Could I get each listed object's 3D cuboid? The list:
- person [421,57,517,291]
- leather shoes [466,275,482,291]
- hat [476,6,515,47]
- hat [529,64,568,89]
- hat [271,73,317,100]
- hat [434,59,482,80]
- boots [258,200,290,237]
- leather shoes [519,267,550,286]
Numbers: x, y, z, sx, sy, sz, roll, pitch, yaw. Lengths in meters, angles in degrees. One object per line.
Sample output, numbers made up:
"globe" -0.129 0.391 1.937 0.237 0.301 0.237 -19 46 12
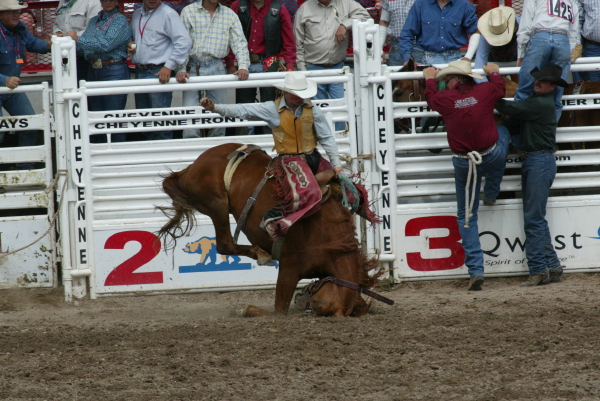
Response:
"person" 2.130 -0.329 15.252 1.037 2.906 0.551 -2 4 8
"leather shoes" 2.211 1.056 15.170 0.111 0.108 0.240 2 -38 -7
"hat" 2.573 -2.272 15.712 0.462 0.518 0.199 3 -11 26
"hat" 3.128 -1.596 15.180 0.433 0.313 0.374 -1 4 11
"hat" -0.056 -1.343 14.073 0.477 0.320 0.389 -2 4 -5
"hat" 1.967 -1.632 15.025 0.302 0.144 0.378 2 -4 -43
"boots" -0.296 0.186 14.031 0.148 0.415 0.321 33 -14 41
"leather shoes" 3.021 1.006 15.336 0.323 0.205 0.170 2 -3 7
